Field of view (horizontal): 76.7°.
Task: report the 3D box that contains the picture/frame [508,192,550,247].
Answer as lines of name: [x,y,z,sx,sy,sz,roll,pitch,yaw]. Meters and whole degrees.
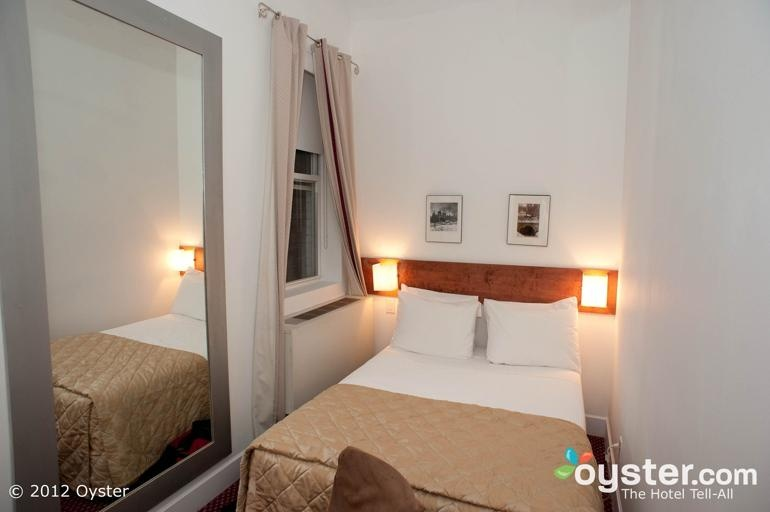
picture/frame: [1.216,-0.314,4.060,0.426,0.558,0.020,2,3,24]

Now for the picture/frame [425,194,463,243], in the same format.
picture/frame: [0.540,-0.344,4.338,0.408,0.510,0.018,2,4,25]
